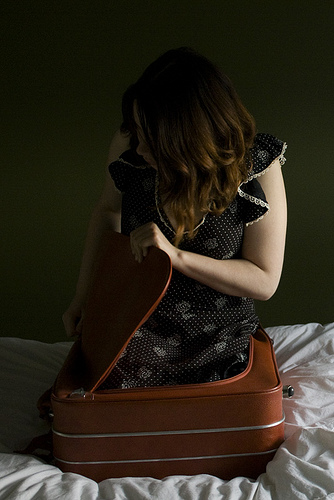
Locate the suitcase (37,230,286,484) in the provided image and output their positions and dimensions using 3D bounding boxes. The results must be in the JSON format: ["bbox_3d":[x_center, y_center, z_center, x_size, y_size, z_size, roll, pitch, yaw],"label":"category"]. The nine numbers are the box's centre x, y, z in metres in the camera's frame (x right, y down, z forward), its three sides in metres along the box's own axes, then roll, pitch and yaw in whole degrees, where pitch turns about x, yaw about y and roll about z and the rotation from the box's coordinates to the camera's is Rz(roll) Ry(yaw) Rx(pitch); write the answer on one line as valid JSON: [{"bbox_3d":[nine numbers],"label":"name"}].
[{"bbox_3d":[-0.002,0.186,0.992,0.441,0.410,0.363,-3,12,2],"label":"suitcase"}]
